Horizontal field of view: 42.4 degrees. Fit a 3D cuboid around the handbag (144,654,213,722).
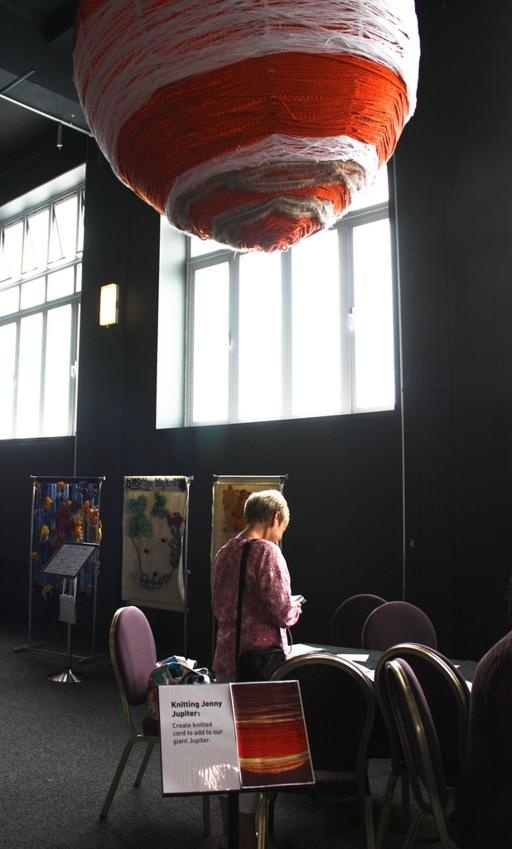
[{"bbox_3d":[-0.320,0.987,2.573,0.170,0.175,0.135,9,5,-8],"label":"handbag"}]
